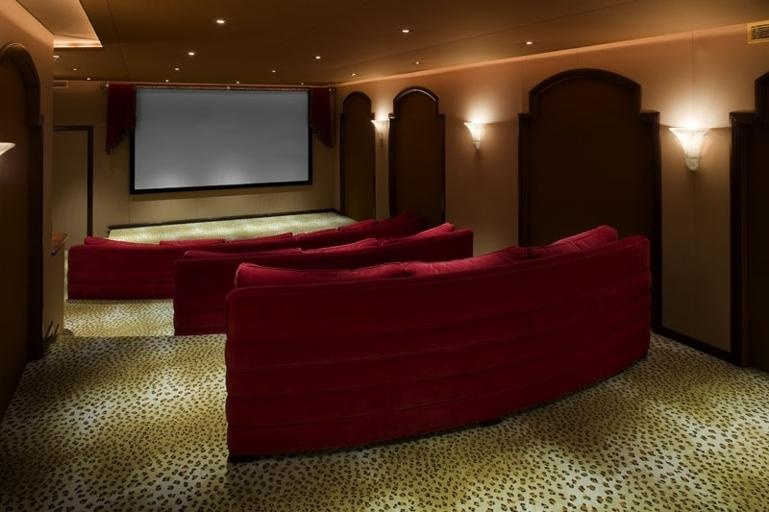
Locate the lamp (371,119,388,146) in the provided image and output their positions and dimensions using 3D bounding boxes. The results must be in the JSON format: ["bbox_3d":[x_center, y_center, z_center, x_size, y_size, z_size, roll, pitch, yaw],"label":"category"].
[{"bbox_3d":[-0.052,-2.332,9.330,0.407,0.493,0.414,-7,13,-33],"label":"lamp"}]

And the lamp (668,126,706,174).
[{"bbox_3d":[3.153,-1.094,5.122,0.372,0.450,0.374,0,8,33],"label":"lamp"}]

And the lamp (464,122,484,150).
[{"bbox_3d":[1.331,-1.767,7.327,0.262,0.393,0.103,9,16,42],"label":"lamp"}]
